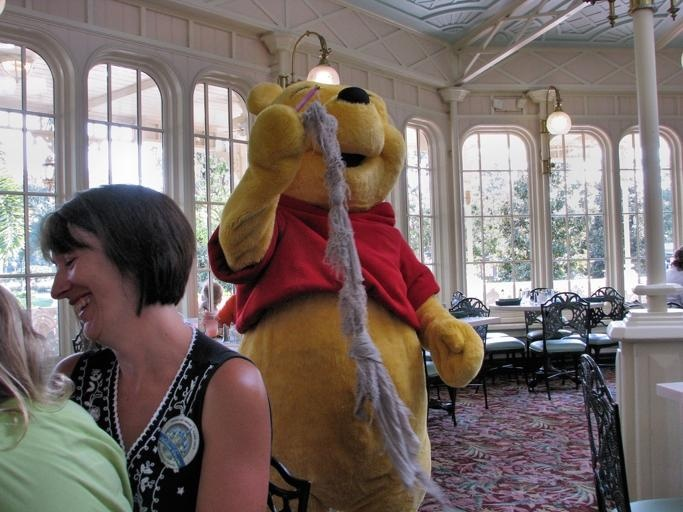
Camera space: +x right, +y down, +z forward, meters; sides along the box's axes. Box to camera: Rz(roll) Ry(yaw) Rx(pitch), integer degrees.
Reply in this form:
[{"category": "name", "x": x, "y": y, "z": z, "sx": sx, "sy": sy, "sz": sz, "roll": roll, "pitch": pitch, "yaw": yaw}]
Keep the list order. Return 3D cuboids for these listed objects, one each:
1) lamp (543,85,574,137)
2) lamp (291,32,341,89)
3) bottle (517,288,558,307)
[{"category": "lamp", "x": 2.540, "y": -1.718, "z": 6.708, "sx": 0.295, "sy": 0.563, "sz": 0.279, "roll": 3, "pitch": 20, "yaw": 32}, {"category": "lamp", "x": -0.207, "y": -1.359, "z": 3.943, "sx": 0.367, "sy": 0.347, "sz": 0.197, "roll": -14, "pitch": 47, "yaw": -23}, {"category": "bottle", "x": 2.350, "y": 0.487, "z": 6.798, "sx": 0.331, "sy": 0.130, "sz": 0.283, "roll": -3, "pitch": 2, "yaw": -39}]
